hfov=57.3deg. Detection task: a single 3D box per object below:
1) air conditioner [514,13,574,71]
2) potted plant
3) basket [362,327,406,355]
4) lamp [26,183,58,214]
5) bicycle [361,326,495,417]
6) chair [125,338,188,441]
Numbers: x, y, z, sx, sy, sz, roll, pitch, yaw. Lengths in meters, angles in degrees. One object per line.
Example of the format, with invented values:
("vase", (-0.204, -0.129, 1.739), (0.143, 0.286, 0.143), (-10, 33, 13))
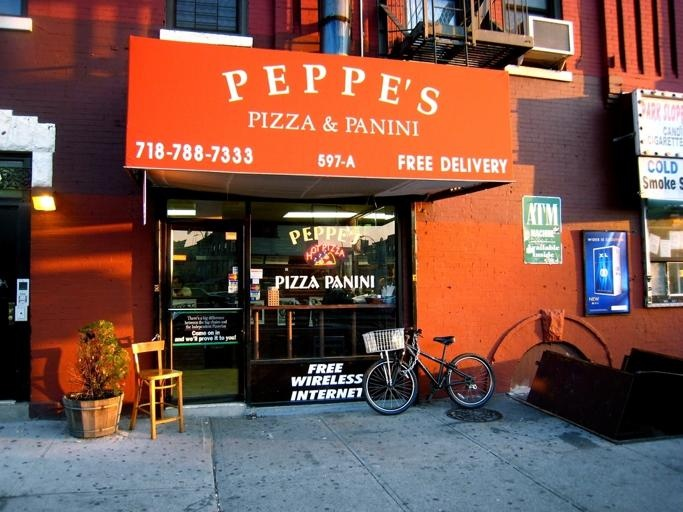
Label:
("air conditioner", (3.470, -3.726, 10.823), (0.906, 0.551, 0.490), (0, -2, -18))
("potted plant", (-3.300, 1.617, 8.497), (0.839, 1.493, 0.832), (4, 1, -31))
("basket", (0.625, 1.263, 9.391), (0.523, 0.255, 0.357), (-2, -4, -20))
("lamp", (-4.205, -0.805, 8.879), (0.316, 0.374, 0.211), (-3, 11, -21))
("bicycle", (1.276, 1.691, 9.663), (2.008, 1.240, 0.774), (-1, 10, -12))
("chair", (-2.574, 1.778, 8.757), (0.703, 1.390, 0.636), (-2, -3, 37))
